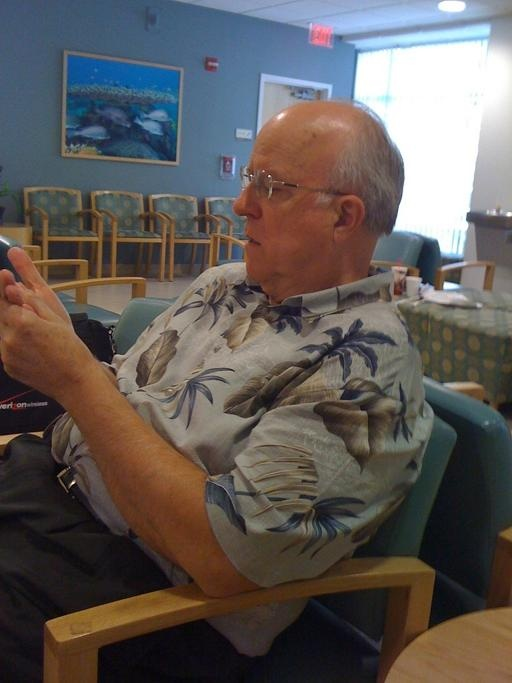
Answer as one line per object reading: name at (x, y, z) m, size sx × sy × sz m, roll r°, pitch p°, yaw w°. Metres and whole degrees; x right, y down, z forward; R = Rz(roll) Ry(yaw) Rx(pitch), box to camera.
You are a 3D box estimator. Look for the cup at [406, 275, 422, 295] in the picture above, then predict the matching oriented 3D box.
cup at (1.008, -0.354, 3.606) m, size 0.113 × 0.121 × 0.113 m, roll 1°, pitch 7°, yaw 0°
